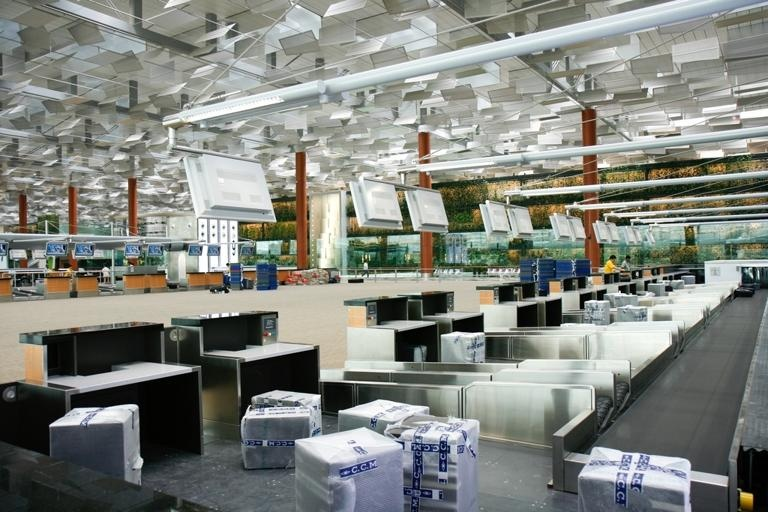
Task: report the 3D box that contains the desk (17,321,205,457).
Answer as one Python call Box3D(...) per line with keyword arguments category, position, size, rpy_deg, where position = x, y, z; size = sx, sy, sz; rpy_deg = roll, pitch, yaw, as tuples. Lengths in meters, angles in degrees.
Box3D(category="desk", position=(-3.146, 1.599, 6.687), size=(1.212, 1.245, 2.077), rpy_deg=(-5, -4, 36))

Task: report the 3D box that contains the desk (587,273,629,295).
Box3D(category="desk", position=(6.953, 0.879, 18.208), size=(1.036, 0.711, 1.526), rpy_deg=(-2, -1, 43))

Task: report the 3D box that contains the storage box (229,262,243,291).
Box3D(category="storage box", position=(-8.091, 1.096, 31.542), size=(0.556, 1.443, 0.691), rpy_deg=(-5, 1, -22))

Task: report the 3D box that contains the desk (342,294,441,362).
Box3D(category="desk", position=(0.178, 1.329, 10.384), size=(1.157, 0.884, 1.538), rpy_deg=(3, 1, 25))

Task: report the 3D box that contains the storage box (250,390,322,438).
Box3D(category="storage box", position=(-1.194, 1.988, 7.256), size=(0.947, 0.425, 0.449), rpy_deg=(-4, -1, 18))

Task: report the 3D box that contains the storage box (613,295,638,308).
Box3D(category="storage box", position=(6.061, 1.123, 14.539), size=(0.645, 0.260, 0.529), rpy_deg=(-1, -3, 18))

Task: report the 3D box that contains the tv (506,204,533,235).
Box3D(category="tv", position=(3.514, -0.919, 15.129), size=(0.394, 0.761, 1.453), rpy_deg=(-4, 0, 27))

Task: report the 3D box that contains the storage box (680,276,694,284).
Box3D(category="storage box", position=(13.027, 0.999, 24.796), size=(0.528, 0.301, 0.774), rpy_deg=(-3, 0, 24))

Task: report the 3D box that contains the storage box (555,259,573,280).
Box3D(category="storage box", position=(6.279, 0.493, 20.213), size=(0.578, 0.564, 0.778), rpy_deg=(-5, -5, 41))

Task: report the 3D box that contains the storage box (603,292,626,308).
Box3D(category="storage box", position=(5.798, 1.136, 14.568), size=(0.296, 0.238, 0.446), rpy_deg=(2, 3, 10))

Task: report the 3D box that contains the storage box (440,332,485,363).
Box3D(category="storage box", position=(1.386, 1.596, 10.082), size=(0.744, 0.337, 0.638), rpy_deg=(-1, -3, 19))

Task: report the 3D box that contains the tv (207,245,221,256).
Box3D(category="tv", position=(-11.235, -0.393, 38.019), size=(0.945, 0.530, 0.428), rpy_deg=(0, 5, -18))

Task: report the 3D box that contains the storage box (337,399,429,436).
Box3D(category="storage box", position=(0.147, 1.767, 6.420), size=(0.707, 0.166, 0.673), rpy_deg=(6, 9, 42))

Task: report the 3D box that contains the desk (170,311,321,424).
Box3D(category="desk", position=(-1.969, 1.373, 8.010), size=(1.280, 0.823, 1.560), rpy_deg=(4, -2, 26))

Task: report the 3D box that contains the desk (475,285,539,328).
Box3D(category="desk", position=(2.935, 1.231, 13.700), size=(0.966, 0.812, 1.437), rpy_deg=(2, 0, 33))

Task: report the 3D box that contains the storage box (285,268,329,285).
Box3D(category="storage box", position=(-4.775, 1.292, 34.661), size=(1.811, 0.895, 2.840), rpy_deg=(-3, 0, 22))

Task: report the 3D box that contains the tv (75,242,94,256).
Box3D(category="tv", position=(-15.510, -0.351, 29.871), size=(0.974, 0.639, 0.515), rpy_deg=(-1, 1, -41))

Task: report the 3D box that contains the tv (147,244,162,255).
Box3D(category="tv", position=(-13.347, -0.393, 33.528), size=(0.447, 0.550, 0.820), rpy_deg=(-10, -10, 42))

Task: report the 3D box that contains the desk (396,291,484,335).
Box3D(category="desk", position=(1.159, 1.268, 11.433), size=(1.135, 0.823, 1.576), rpy_deg=(7, 3, 26))

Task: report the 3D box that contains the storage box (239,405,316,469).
Box3D(category="storage box", position=(-1.030, 2.180, 6.818), size=(1.112, 0.557, 0.650), rpy_deg=(-17, -20, 37))

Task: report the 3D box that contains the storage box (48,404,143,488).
Box3D(category="storage box", position=(-3.093, 2.029, 6.215), size=(0.971, 0.523, 0.841), rpy_deg=(2, -1, -25))

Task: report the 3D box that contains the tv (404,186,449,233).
Box3D(category="tv", position=(0.789, -0.916, 11.115), size=(0.414, 0.800, 0.975), rpy_deg=(-4, 0, 34))

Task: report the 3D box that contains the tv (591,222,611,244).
Box3D(category="tv", position=(7.486, -0.804, 20.542), size=(0.947, 0.680, 0.213), rpy_deg=(6, -17, -36))

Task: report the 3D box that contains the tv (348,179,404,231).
Box3D(category="tv", position=(-0.195, -0.940, 10.493), size=(0.262, 1.015, 1.639), rpy_deg=(-25, 1, 12))

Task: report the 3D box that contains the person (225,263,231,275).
Box3D(category="person", position=(-10.380, 0.847, 38.368), size=(0.227, 0.615, 0.887), rpy_deg=(7, -7, -36))

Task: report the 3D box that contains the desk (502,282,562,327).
Box3D(category="desk", position=(3.412, 1.221, 15.130), size=(1.405, 1.069, 2.014), rpy_deg=(5, -4, 1))

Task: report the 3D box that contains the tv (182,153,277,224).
Box3D(category="tv", position=(-2.067, -0.908, 7.702), size=(0.360, 0.899, 1.104), rpy_deg=(-4, 0, 41))

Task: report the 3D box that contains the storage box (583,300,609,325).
Box3D(category="storage box", position=(4.679, 1.261, 12.720), size=(0.707, 0.473, 0.847), rpy_deg=(0, -1, 18))

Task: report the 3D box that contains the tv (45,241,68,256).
Box3D(category="tv", position=(-16.341, -0.432, 28.836), size=(0.663, 0.689, 1.103), rpy_deg=(-4, 0, -4))
